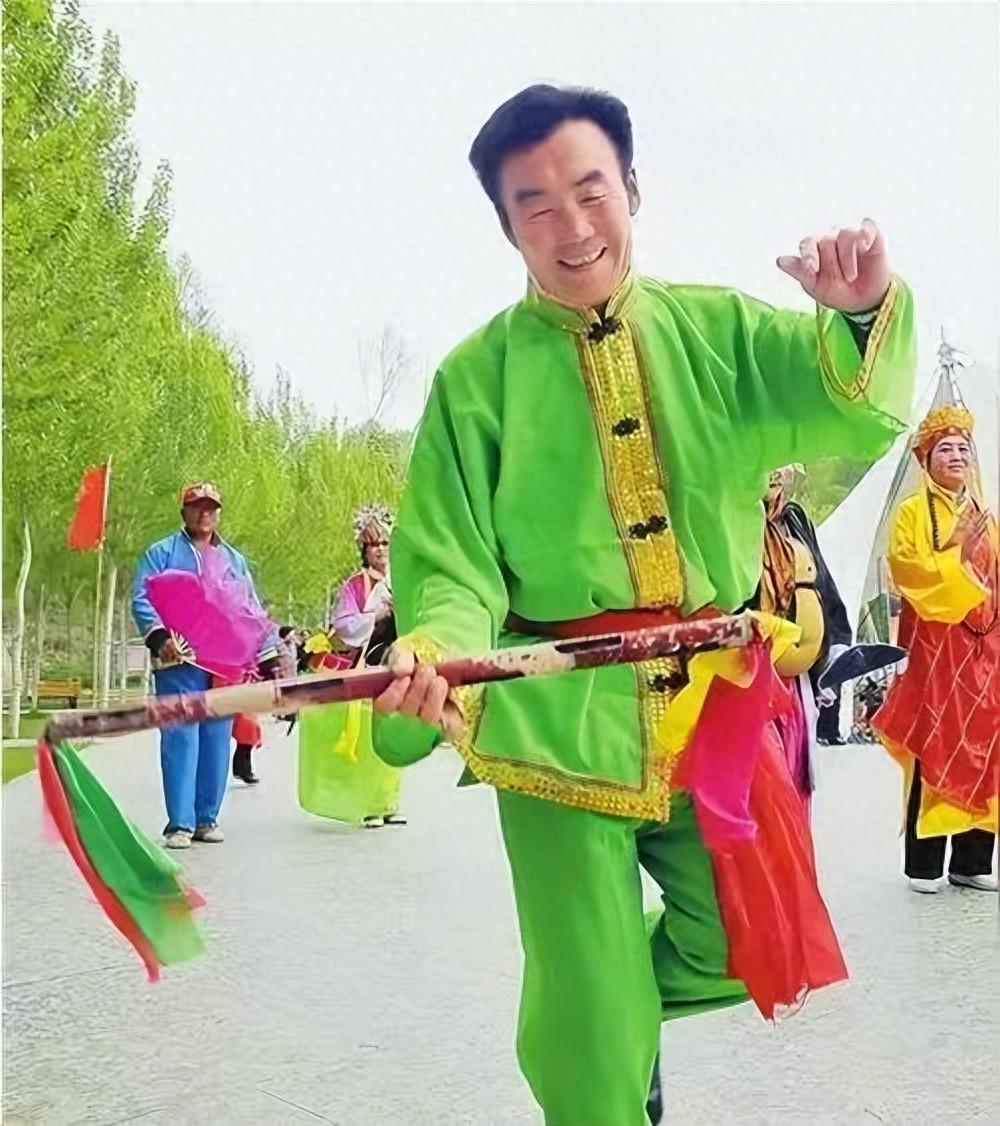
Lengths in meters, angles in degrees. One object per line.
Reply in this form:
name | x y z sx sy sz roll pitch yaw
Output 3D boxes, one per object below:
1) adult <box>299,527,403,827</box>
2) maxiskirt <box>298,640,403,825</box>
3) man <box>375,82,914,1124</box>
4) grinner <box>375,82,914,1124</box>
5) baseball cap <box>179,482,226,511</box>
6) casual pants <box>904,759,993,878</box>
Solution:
adult | -0.934 0.707 7.663 0.973 2.132 0.621 11 -18 -42
maxiskirt | -1.039 1.277 7.411 0.770 0.856 0.519 4 6 7
man | 0.228 0.055 1.780 0.849 1.662 0.645 1 -8 -7
grinner | 0.228 0.055 1.780 0.848 1.662 0.645 1 -8 -7
baseball cap | -1.936 -0.451 7.098 0.224 0.146 0.288 4 -18 -14
casual pants | 2.165 1.261 5.303 0.511 0.548 0.255 4 -9 -28
